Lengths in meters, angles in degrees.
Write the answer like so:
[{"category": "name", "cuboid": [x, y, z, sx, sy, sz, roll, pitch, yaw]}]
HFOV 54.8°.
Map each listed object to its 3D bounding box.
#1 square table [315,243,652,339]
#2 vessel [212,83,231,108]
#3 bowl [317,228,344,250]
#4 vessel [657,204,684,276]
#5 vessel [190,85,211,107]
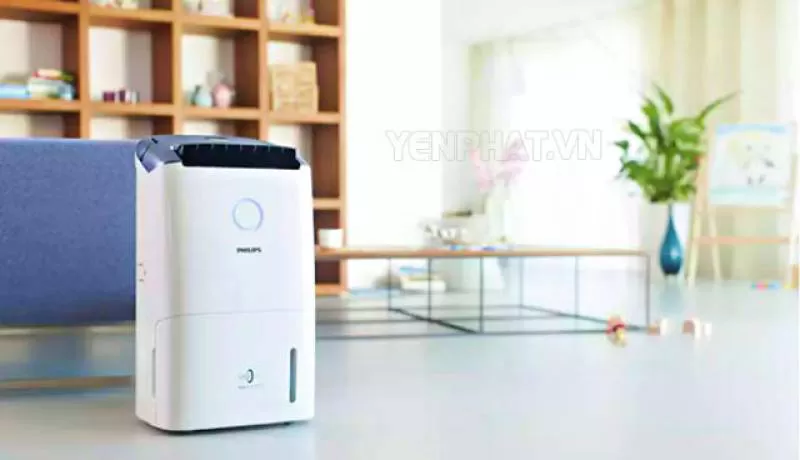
[{"category": "square table", "cuboid": [0.494, 0.330, 5.431, 1.990, 0.533, 2.324, -1, 2, 1]}, {"category": "vessel", "cuboid": [-1.415, -1.053, 6.146, 0.153, 0.185, 0.154, 1, -6, -13]}, {"category": "bowl", "cuboid": [-0.428, 0.057, 4.678, 0.137, 0.086, 0.126, 0, 0, 0]}, {"category": "vessel", "cuboid": [2.384, 0.102, 6.735, 0.202, 0.628, 0.209, -1, 2, -3]}, {"category": "vessel", "cuboid": [-1.549, -1.033, 6.051, 0.188, 0.167, 0.167, 3, -2, -2]}]
